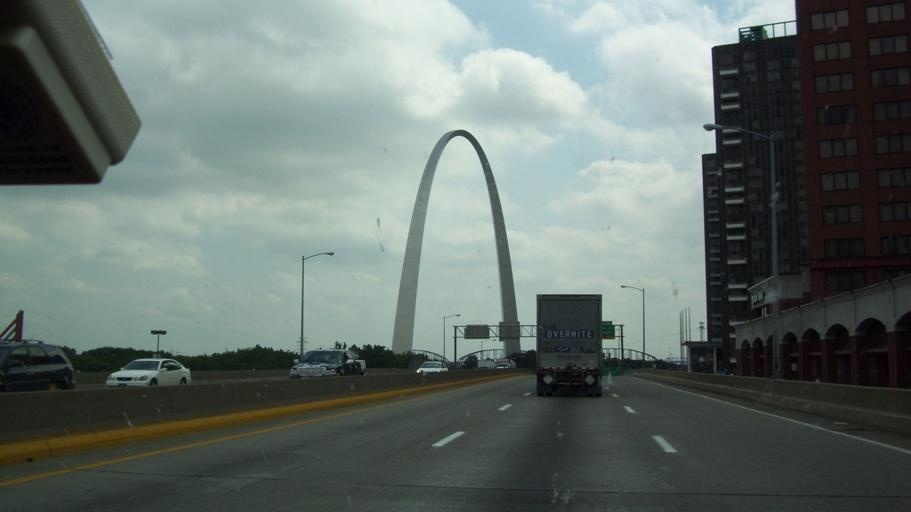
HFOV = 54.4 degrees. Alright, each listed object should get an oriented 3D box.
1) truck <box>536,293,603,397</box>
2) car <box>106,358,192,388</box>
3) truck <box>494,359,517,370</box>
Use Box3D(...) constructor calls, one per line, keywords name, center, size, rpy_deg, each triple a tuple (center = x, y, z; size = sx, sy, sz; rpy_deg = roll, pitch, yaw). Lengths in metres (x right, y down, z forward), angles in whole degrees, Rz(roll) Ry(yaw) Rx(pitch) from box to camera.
Box3D(name="truck", center=(6.455, 5.044, 52.398), size=(3.730, 4.923, 7.755), rpy_deg=(0, -4, 6))
Box3D(name="car", center=(-17.284, 6.749, 50.335), size=(2.222, 1.464, 4.335), rpy_deg=(5, 6, 43))
Box3D(name="truck", center=(5.994, 12.933, 106.074), size=(1.742, 1.260, 4.970), rpy_deg=(2, 5, 16))
